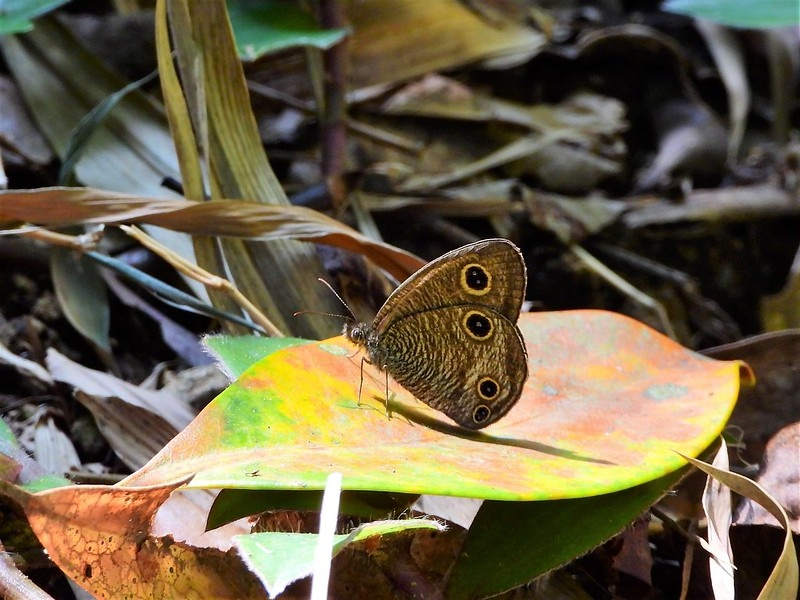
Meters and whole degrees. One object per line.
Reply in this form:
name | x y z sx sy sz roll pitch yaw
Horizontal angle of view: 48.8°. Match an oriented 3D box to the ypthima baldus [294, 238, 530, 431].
ypthima baldus | 0.046 0.058 1.580 0.351 0.345 0.200 -2 94 5
